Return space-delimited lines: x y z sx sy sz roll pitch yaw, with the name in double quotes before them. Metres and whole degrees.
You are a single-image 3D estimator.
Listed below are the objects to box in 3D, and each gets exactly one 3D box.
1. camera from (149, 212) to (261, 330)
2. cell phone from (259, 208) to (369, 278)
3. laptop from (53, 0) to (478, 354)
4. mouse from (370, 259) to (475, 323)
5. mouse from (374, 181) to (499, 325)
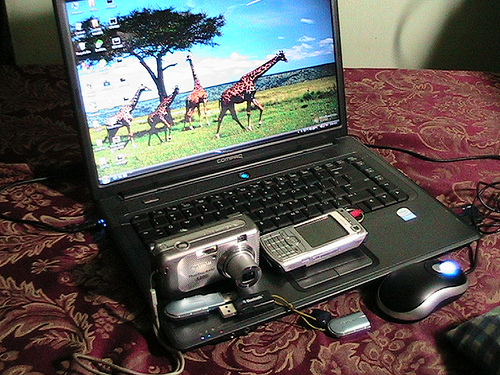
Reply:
"camera" -0.058 0.102 0.495 0.172 0.063 0.083 -14 33 -40
"cell phone" 0.086 0.078 0.569 0.167 0.033 0.067 -15 45 -16
"laptop" 0.032 -0.090 0.610 0.565 0.334 0.489 -18 40 -20
"mouse" 0.233 0.143 0.533 0.136 0.030 0.064 -18 38 -17
"mouse" 0.299 0.106 0.572 0.267 0.029 0.109 -20 35 -23
